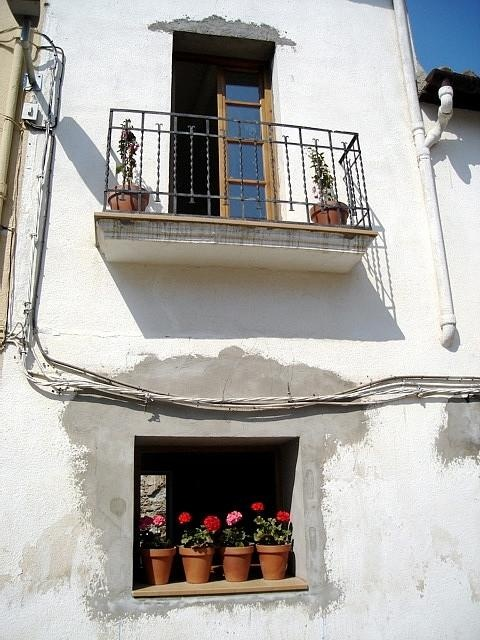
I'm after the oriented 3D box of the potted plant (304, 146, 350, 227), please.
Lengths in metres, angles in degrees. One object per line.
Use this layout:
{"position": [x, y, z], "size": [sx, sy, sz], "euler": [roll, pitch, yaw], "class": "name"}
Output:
{"position": [0.702, -1.057, 4.916], "size": [0.313, 0.933, 0.489], "euler": [-2, -20, 7], "class": "potted plant"}
